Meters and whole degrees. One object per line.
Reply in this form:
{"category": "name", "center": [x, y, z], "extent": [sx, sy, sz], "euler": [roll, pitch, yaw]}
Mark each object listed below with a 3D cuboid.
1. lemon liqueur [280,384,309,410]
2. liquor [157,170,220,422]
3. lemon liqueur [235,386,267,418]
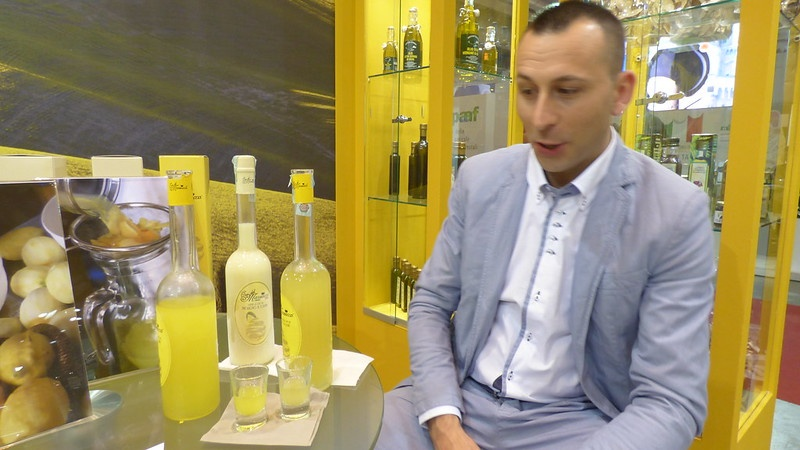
{"category": "lemon liqueur", "center": [-0.342, 0.546, 1.583], "extent": [0.093, 0.057, 0.083], "euler": [1, -1, 2]}
{"category": "liquor", "center": [-0.683, 0.227, 1.564], "extent": [0.175, 0.794, 0.088], "euler": [-2, 6, -24]}
{"category": "lemon liqueur", "center": [-0.479, 0.555, 1.557], "extent": [0.119, 0.072, 0.110], "euler": [0, 4, 1]}
